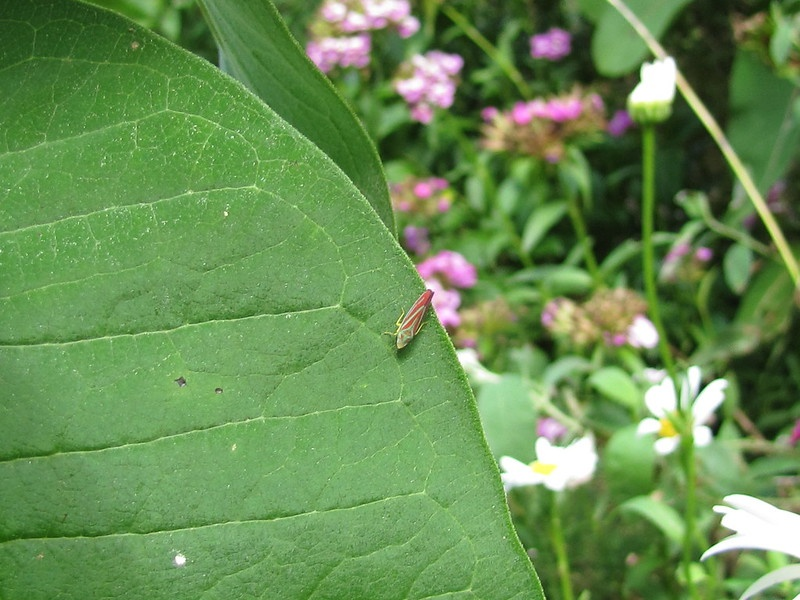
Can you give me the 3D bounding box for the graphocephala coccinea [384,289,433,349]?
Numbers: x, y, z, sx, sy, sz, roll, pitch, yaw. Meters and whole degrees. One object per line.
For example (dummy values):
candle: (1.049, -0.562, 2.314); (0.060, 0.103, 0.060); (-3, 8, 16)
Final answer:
graphocephala coccinea: (0.010, 0.017, 0.773); (0.034, 0.054, 0.016); (27, 18, -6)
